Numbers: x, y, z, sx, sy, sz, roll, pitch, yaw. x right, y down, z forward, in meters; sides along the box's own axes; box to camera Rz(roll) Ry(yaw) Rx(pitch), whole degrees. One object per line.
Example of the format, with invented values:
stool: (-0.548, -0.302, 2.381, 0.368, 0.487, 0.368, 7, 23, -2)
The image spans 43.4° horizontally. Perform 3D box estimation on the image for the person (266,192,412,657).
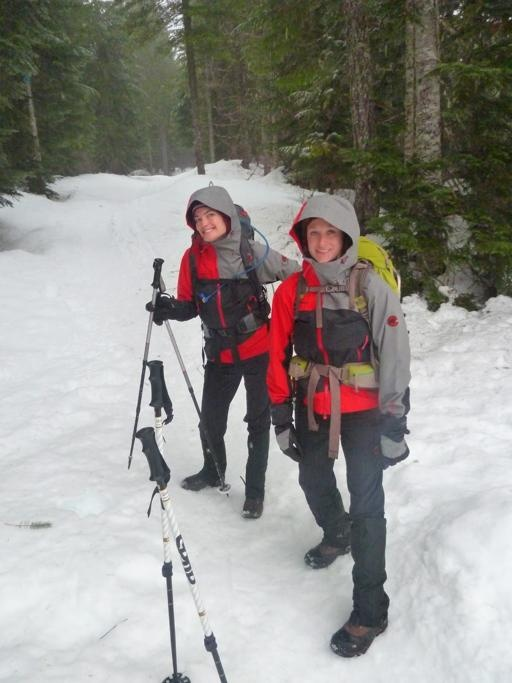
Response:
person: (0.520, 0.426, 3.868, 0.648, 2.588, 0.864, -9, 12, -26)

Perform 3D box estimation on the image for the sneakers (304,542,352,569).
sneakers: (0.497, 1.437, 4.408, 0.295, 0.115, 0.147, -12, 15, -16)

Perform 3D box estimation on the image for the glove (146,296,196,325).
glove: (-0.662, -0.233, 5.065, 0.353, 0.203, 0.165, 3, -30, 0)

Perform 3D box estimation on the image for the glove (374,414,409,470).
glove: (0.803, 0.578, 3.750, 0.166, 0.356, 0.201, -2, 11, 12)

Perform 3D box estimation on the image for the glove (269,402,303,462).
glove: (0.183, 0.568, 4.014, 0.117, 0.323, 0.248, -7, -6, 2)

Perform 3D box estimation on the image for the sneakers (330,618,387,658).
sneakers: (0.581, 1.665, 3.706, 0.306, 0.140, 0.150, -21, 11, -26)

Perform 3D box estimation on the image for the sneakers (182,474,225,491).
sneakers: (-0.471, 1.181, 5.431, 0.385, 0.152, 0.136, 7, 1, -12)
